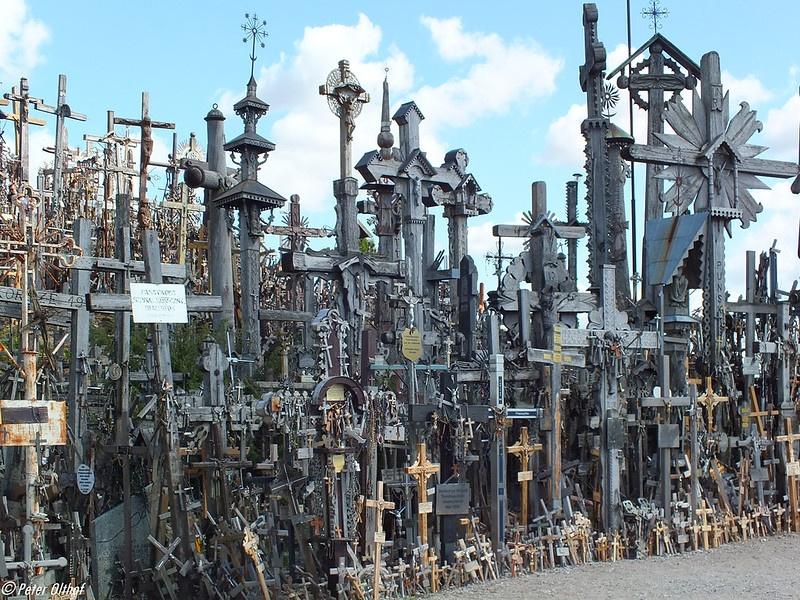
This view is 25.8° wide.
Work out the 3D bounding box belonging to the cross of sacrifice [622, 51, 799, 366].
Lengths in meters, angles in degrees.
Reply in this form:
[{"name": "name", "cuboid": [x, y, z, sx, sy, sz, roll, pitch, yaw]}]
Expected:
[{"name": "cross of sacrifice", "cuboid": [6.645, -1.932, 37.447, 3.037, 6.890, 0.903, 1, -7, -25]}]
